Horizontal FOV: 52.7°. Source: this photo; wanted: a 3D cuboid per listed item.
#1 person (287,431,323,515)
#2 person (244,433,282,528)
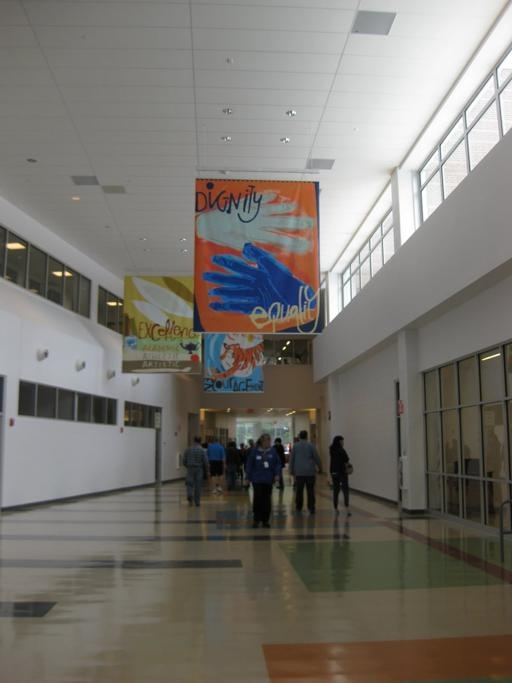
[{"bbox_3d":[0.978,2.447,9.915,0.557,1.557,0.376,-1,9,2],"label":"person"},{"bbox_3d":[0.121,2.297,8.564,0.549,1.520,0.939,0,-10,2],"label":"person"}]
